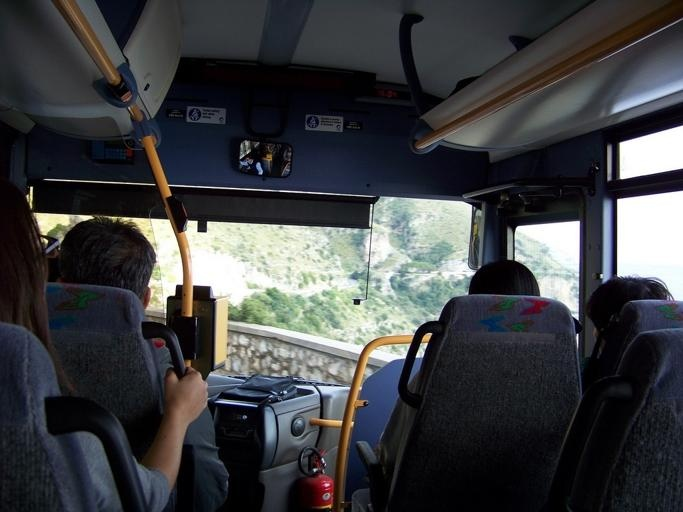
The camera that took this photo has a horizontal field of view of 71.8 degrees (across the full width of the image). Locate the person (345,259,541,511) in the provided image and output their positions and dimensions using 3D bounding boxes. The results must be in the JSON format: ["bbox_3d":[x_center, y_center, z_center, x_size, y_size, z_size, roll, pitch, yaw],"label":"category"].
[{"bbox_3d":[0.404,0.339,2.424,0.592,1.062,0.985,4,-4,-4],"label":"person"}]

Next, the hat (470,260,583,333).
[{"bbox_3d":[0.770,0.174,2.149,0.383,0.448,0.367,1,-14,3],"label":"hat"}]
